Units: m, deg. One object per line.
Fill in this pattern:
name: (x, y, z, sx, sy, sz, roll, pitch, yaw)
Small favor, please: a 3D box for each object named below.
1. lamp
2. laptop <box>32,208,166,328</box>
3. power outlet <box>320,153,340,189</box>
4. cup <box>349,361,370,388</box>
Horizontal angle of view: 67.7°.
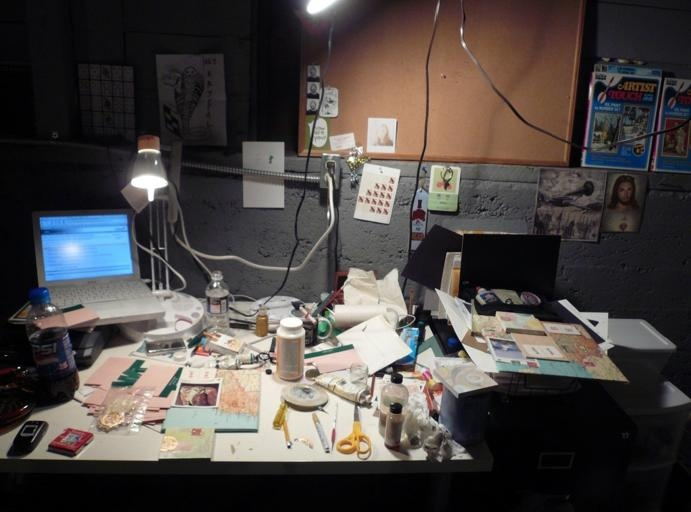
lamp: (-0.771, -0.092, 2.121, 0.347, 0.769, 0.335, 0, 14, -2)
laptop: (-1.017, 0.030, 2.058, 0.465, 0.359, 0.495, -1, 11, -28)
power outlet: (-0.069, -0.367, 2.250, 0.090, 0.149, 0.082, 1, -10, -15)
cup: (0.046, 0.429, 1.840, 0.062, 0.064, 0.058, 3, 5, 0)
